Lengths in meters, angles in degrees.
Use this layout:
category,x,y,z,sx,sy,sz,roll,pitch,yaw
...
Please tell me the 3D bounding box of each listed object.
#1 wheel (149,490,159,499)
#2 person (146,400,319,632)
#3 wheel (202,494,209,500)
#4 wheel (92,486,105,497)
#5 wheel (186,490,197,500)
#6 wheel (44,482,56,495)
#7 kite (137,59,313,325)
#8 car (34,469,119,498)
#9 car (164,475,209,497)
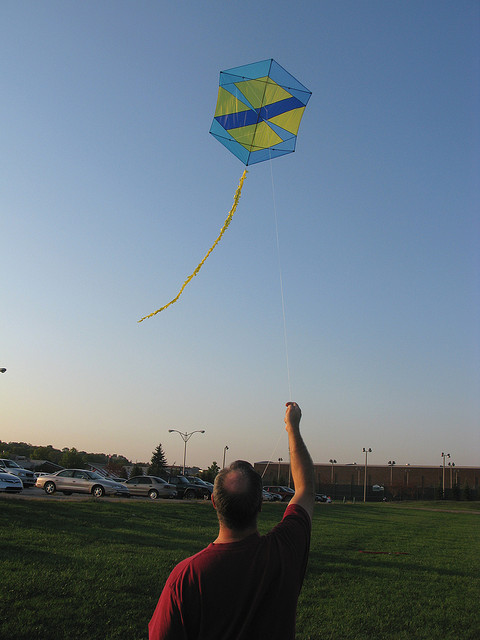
category,x,y,z,sx,sy,sz,roll,pitch,yaw
wheel,-4.540,9.173,27.429,0.482,0.425,0.850,8,-17,-18
person,0.039,0.727,1.943,0.338,0.742,0.666,-12,-22,42
wheel,-2.007,10.302,30.355,0.334,0.286,0.711,4,-16,-4
wheel,-6.092,7.290,22.219,0.462,0.488,0.170,0,-4,14
wheel,-2.846,10.055,29.962,0.496,0.523,0.170,3,-6,6
wheel,-8.355,7.318,22.714,0.562,0.593,0.189,1,-3,12
kite,-0.082,-1.837,6.569,1.494,3.412,1.312,-19,-54,35
car,-7.145,7.063,22.671,3.704,1.039,1.107,-3,-17,20
car,-3.184,9.739,30.616,2.459,1.163,1.184,-1,-9,7
